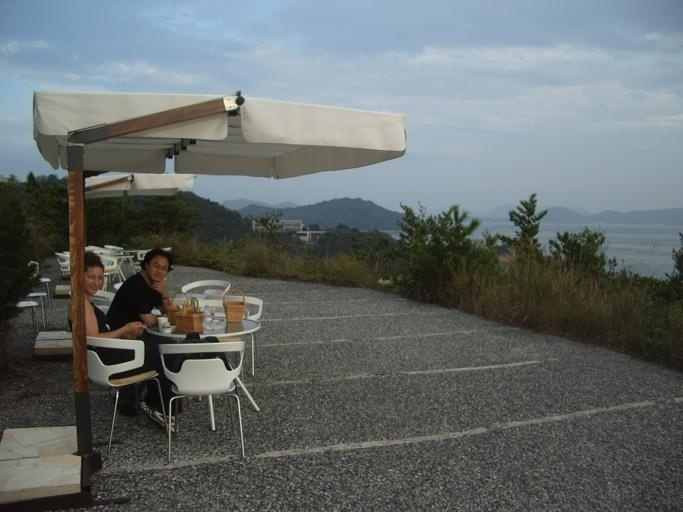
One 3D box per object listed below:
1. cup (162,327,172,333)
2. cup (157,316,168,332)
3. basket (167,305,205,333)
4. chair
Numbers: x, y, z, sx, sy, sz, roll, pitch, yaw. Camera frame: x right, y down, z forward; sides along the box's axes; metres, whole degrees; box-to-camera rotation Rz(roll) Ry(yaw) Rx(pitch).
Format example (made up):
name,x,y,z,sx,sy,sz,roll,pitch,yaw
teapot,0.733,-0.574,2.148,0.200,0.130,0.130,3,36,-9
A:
name,x,y,z,sx,sy,sz,roll,pitch,yaw
cup,-2.176,0.939,7.624,0.073,0.063,0.076,0,-5,0
cup,-2.285,0.881,7.672,0.111,0.177,0.154,0,1,-39
basket,-1.947,0.814,7.755,0.387,0.275,0.662,-5,9,-39
chair,-2.452,1.040,7.672,1.675,2.174,1.309,3,7,19
